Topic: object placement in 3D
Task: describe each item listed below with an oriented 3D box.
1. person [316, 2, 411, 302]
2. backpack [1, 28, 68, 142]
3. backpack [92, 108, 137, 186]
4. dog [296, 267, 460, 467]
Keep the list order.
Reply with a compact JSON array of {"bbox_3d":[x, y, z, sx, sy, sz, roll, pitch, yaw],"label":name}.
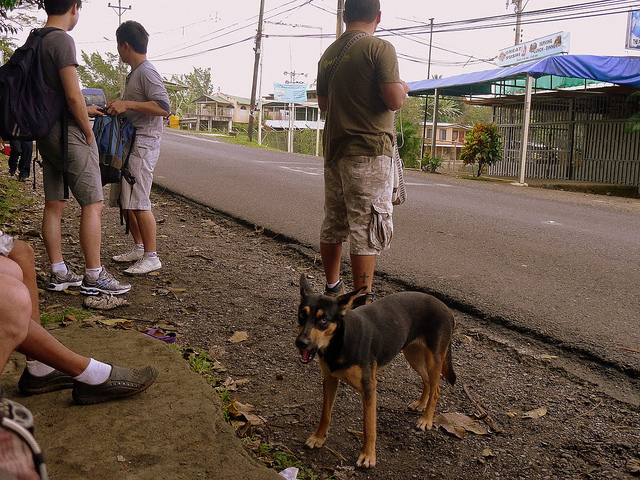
[{"bbox_3d":[0.340,-0.720,4.045,0.423,2.519,0.918,-3,15,-38],"label":"person"},{"bbox_3d":[-2.366,-1.288,3.875,0.463,0.920,0.254,-2,15,-35],"label":"backpack"},{"bbox_3d":[-2.052,-0.917,4.678,0.386,0.660,0.488,4,5,-34],"label":"backpack"},{"bbox_3d":[0.372,0.742,3.027,1.480,1.130,0.532,-3,9,-37],"label":"dog"}]
